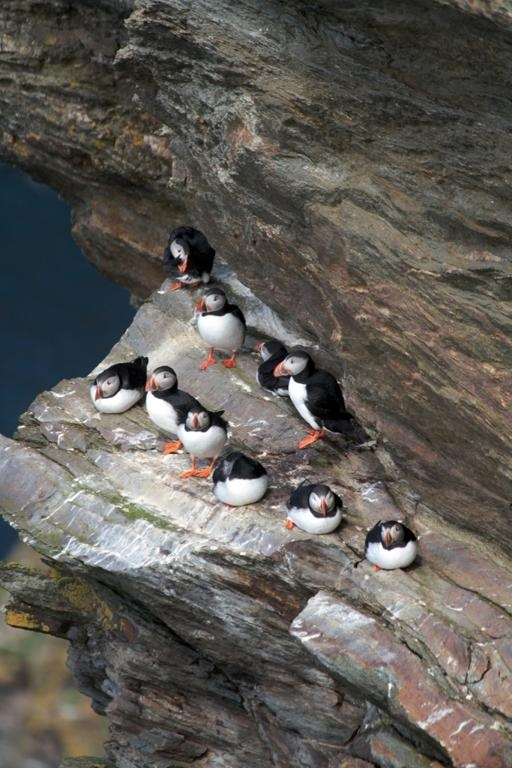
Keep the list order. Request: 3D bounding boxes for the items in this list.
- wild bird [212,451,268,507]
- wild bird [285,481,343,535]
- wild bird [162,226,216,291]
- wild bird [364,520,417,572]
[{"bbox_3d":[-0.125,0.779,6.565,0.449,0.459,0.275,15,27,0],"label":"wild bird"},{"bbox_3d":[0.435,0.905,6.301,0.338,0.310,0.462,-8,44,-6],"label":"wild bird"},{"bbox_3d":[-0.741,-1.381,9.060,0.571,0.646,0.591,-26,26,-14],"label":"wild bird"},{"bbox_3d":[0.989,1.209,6.114,0.292,0.318,0.458,-9,48,11],"label":"wild bird"}]
